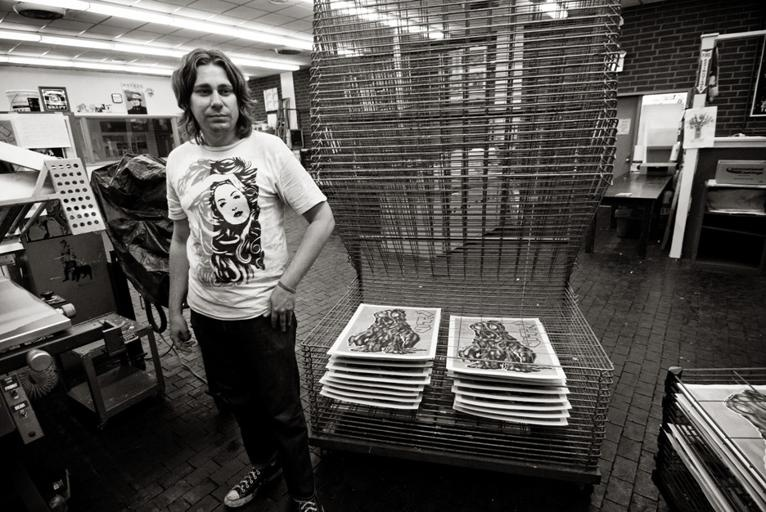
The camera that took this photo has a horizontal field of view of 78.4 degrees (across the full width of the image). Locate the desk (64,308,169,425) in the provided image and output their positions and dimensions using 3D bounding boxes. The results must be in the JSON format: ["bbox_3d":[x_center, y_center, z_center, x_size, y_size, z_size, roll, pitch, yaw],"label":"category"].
[{"bbox_3d":[-2.097,0.786,3.472,0.707,0.753,0.563,8,21,32],"label":"desk"}]

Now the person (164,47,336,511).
[{"bbox_3d":[-0.787,0.214,2.616,0.994,2.591,0.594,4,20,17],"label":"person"}]
